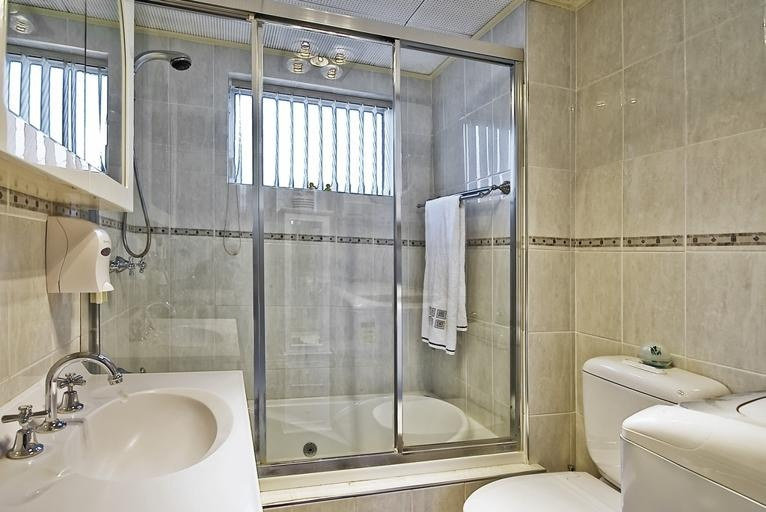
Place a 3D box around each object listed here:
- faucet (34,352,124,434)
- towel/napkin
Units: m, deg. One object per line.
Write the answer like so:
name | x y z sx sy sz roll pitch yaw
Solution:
faucet | -1.118 0.479 2.142 0.310 0.276 0.199 -1 -2 32
towel/napkin | 0.317 0.092 3.059 0.242 0.794 0.036 1 -2 -20
